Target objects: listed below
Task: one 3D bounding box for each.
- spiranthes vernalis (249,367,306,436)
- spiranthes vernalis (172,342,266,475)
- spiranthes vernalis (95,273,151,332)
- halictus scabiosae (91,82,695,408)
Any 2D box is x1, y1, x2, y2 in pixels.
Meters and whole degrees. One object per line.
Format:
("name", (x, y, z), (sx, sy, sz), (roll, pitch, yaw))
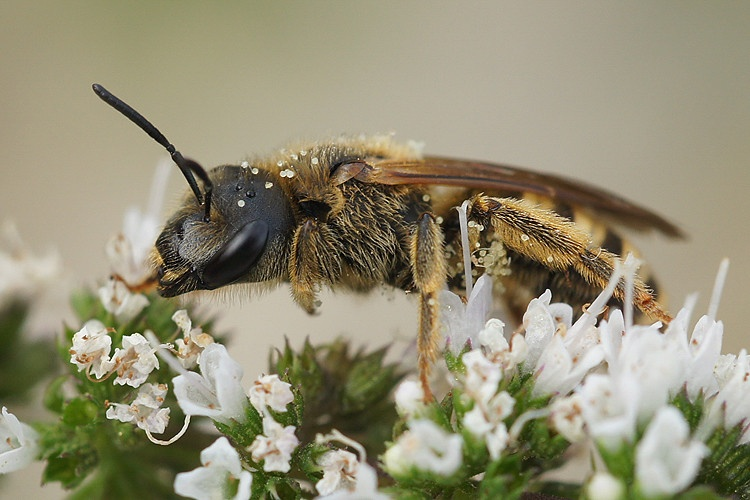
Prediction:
("spiranthes vernalis", (-0.256, 0.372, 1.903), (0.122, 0.145, 0.138), (3, 11, 23))
("spiranthes vernalis", (-0.410, 0.394, 1.899), (0.141, 0.294, 0.166), (1, 5, 0))
("spiranthes vernalis", (-0.764, 0.157, 2.304), (0.116, 0.147, 0.107), (8, 15, 31))
("halictus scabiosae", (0.053, -0.068, 2.250), (1.404, 0.501, 0.964), (6, -2, -15))
